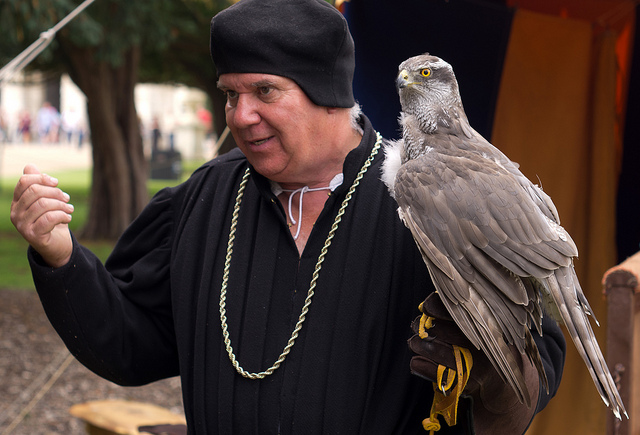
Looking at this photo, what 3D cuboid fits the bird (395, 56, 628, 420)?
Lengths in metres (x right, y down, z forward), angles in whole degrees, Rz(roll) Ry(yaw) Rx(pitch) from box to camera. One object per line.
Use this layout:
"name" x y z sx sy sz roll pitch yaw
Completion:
"bird" 0.829 0.032 5.300 0.718 1.661 1.370 -6 12 -35

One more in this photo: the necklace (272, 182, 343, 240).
"necklace" -0.057 -0.032 5.582 0.314 0.239 0.028 2 -16 10
